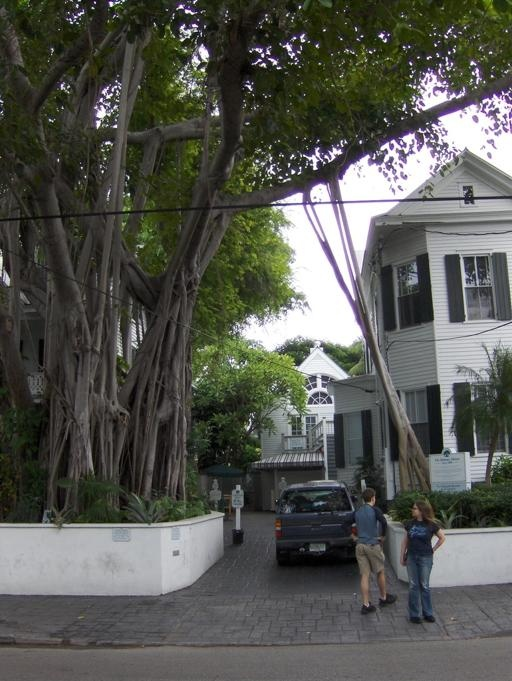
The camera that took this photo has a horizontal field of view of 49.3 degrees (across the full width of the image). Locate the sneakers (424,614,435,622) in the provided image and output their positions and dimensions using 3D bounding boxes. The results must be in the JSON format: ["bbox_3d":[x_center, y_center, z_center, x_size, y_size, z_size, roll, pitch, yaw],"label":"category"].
[{"bbox_3d":[1.881,3.018,6.052,0.115,0.076,0.139,-2,-11,4],"label":"sneakers"}]

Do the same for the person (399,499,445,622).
[{"bbox_3d":[1.857,2.468,6.250,0.448,1.279,0.381,1,-10,-11],"label":"person"}]

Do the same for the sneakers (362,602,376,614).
[{"bbox_3d":[1.351,3.188,6.656,0.075,0.094,0.208,-5,-6,40],"label":"sneakers"}]

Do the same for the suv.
[{"bbox_3d":[1.099,3.534,10.693,1.170,0.985,2.150,-1,-5,2],"label":"suv"}]

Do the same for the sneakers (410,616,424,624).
[{"bbox_3d":[1.742,3.018,6.039,0.056,0.060,0.138,4,-12,-45],"label":"sneakers"}]
